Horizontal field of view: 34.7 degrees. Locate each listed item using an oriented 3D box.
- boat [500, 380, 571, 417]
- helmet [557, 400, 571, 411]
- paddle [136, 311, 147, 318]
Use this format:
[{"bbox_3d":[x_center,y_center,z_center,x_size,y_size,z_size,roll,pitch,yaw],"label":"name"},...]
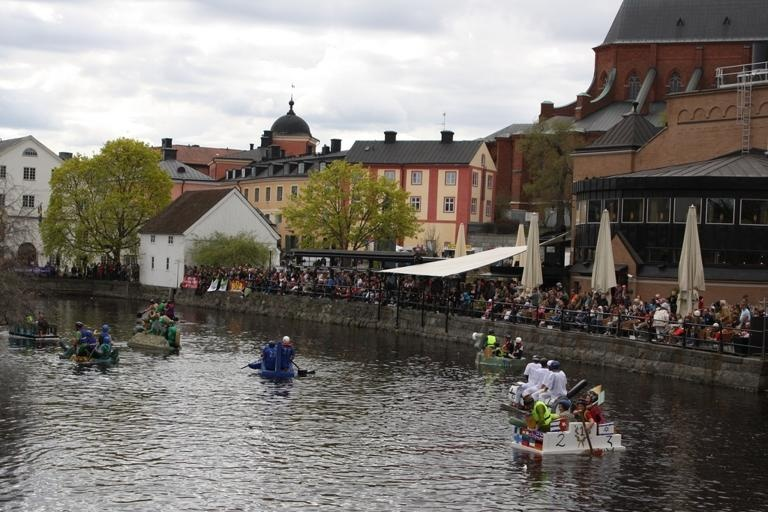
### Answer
[{"bbox_3d":[6.561,6.982,58.069,2.562,1.742,1.954,-4,0,-6],"label":"boat"},{"bbox_3d":[7.866,6.500,53.360,0.384,0.506,0.506,15,-35,1],"label":"helmet"},{"bbox_3d":[-16.671,4.077,83.996,0.891,0.450,1.222,-1,-3,-10],"label":"paddle"}]
